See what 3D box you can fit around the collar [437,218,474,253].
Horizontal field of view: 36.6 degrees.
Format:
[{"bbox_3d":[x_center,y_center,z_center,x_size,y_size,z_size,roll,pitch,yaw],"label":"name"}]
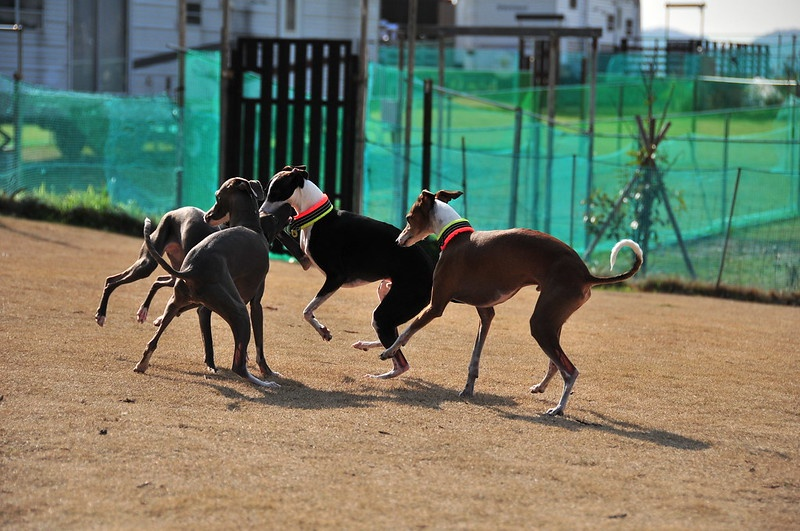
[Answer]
[{"bbox_3d":[0.784,-0.457,17.739,0.407,0.245,0.481,-15,-17,25],"label":"collar"}]
